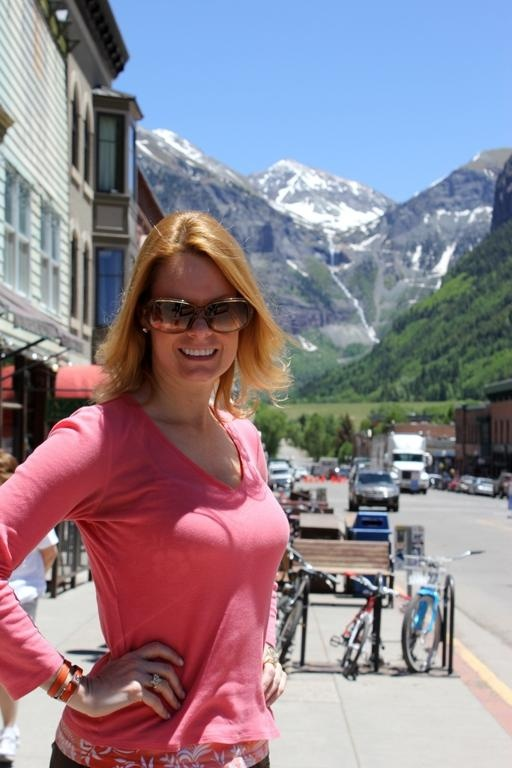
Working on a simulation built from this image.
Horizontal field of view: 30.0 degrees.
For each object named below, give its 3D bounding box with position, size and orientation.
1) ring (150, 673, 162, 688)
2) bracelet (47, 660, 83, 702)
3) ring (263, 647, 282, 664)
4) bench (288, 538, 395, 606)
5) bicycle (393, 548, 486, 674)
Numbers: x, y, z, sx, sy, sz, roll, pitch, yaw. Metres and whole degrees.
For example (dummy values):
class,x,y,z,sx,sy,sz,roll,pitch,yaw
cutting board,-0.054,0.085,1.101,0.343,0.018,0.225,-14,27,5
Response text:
class,x,y,z,sx,sy,sz,roll,pitch,yaw
ring,-0.221,0.654,2.106,0.027,0.027,0.007,5,-4,-42
bracelet,-0.410,0.645,2.096,0.054,0.086,0.098,28,5,-19
ring,0.037,0.714,2.501,0.037,0.021,0.049,18,4,-6
bench,0.825,1.750,9.185,0.937,0.398,0.329,2,17,1
bicycle,1.439,1.854,7.703,0.699,0.712,1.155,-2,-10,17
